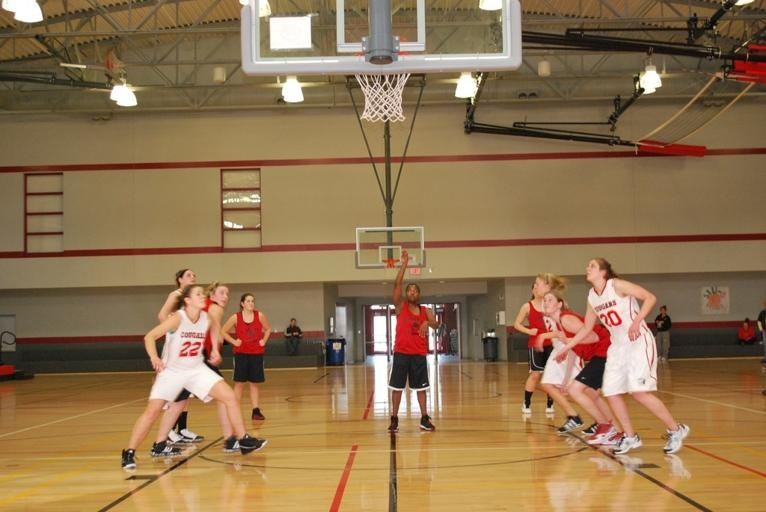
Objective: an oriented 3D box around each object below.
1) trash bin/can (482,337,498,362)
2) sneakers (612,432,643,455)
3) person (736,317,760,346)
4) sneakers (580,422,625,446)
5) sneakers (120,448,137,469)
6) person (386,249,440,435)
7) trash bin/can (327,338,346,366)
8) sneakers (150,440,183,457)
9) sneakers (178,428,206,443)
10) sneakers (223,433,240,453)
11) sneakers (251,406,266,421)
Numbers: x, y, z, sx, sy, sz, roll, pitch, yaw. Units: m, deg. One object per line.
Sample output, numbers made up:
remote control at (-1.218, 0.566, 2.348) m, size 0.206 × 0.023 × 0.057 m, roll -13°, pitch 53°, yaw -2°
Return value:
trash bin/can at (3.689, 3.114, 23.920) m, size 0.633 × 0.930 × 0.811 m, roll 1°, pitch -5°, yaw -5°
sneakers at (3.427, 2.642, 10.047) m, size 0.491 × 0.239 × 0.190 m, roll -18°, pitch -10°, yaw -13°
person at (11.294, 2.320, 22.046) m, size 0.539 × 0.826 × 1.279 m, roll -5°, pitch -8°, yaw 27°
sneakers at (3.226, 2.636, 10.459) m, size 0.595 × 0.279 × 0.224 m, roll 0°, pitch -8°, yaw -2°
sneakers at (-3.502, 2.788, 9.778) m, size 0.179 × 0.293 × 0.238 m, roll 1°, pitch -7°, yaw -19°
person at (0.464, 1.355, 11.401) m, size 0.760 × 2.869 × 1.064 m, roll -1°, pitch -7°, yaw 1°
trash bin/can at (-1.634, 3.143, 23.202) m, size 0.760 × 0.885 × 0.773 m, roll -1°, pitch -5°, yaw 0°
sneakers at (-3.134, 2.799, 10.359) m, size 0.544 × 0.256 × 0.202 m, roll 3°, pitch -2°, yaw -14°
sneakers at (-3.005, 2.802, 11.036) m, size 0.456 × 0.187 × 0.162 m, roll 2°, pitch -4°, yaw -2°
sneakers at (-2.213, 2.749, 10.359) m, size 0.153 × 0.216 × 0.329 m, roll 1°, pitch -2°, yaw 12°
sneakers at (-2.175, 2.786, 12.407) m, size 0.131 × 0.180 × 0.428 m, roll 2°, pitch -16°, yaw -16°
